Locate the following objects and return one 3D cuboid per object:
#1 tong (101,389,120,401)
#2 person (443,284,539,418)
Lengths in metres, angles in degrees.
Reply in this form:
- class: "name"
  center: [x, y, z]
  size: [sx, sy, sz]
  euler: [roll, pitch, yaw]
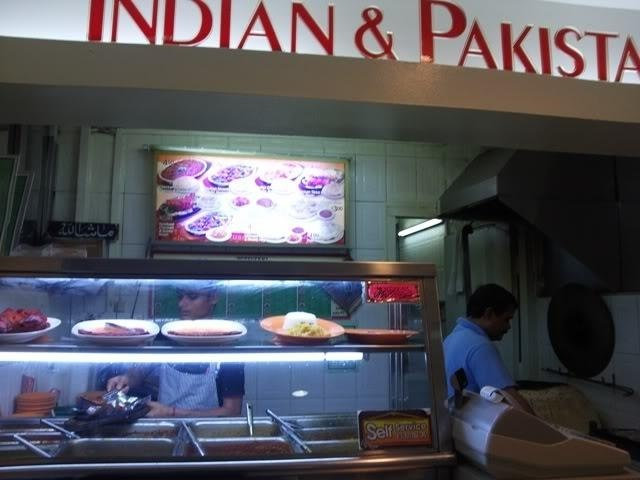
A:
- class: "tong"
  center: [-0.988, 0.735, 2.784]
  size: [0.055, 0.040, 0.019]
  euler: [-24, -6, -18]
- class: "person"
  center: [1.187, 0.737, 3.928]
  size: [0.473, 1.003, 0.695]
  euler: [6, -16, -2]
